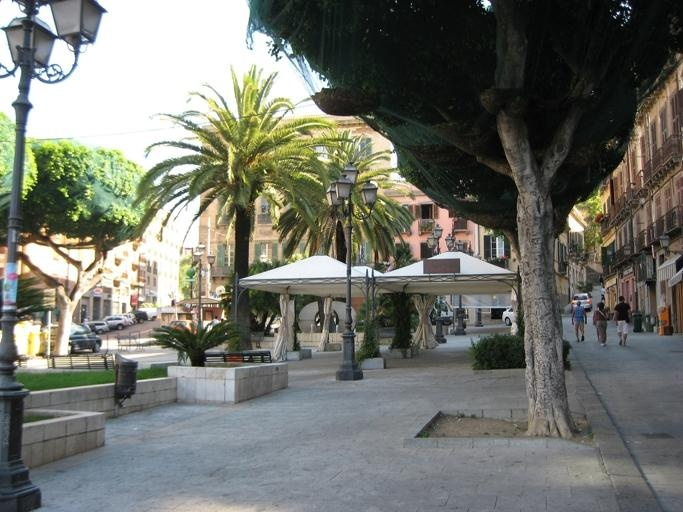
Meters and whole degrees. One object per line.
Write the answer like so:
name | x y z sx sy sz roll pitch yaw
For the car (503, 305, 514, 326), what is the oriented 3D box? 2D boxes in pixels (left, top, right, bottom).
car | 14.330 5.239 54.014 0.709 2.104 7.333 -4 -10 13

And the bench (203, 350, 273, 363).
bench | -2.744 2.714 16.722 1.463 0.376 3.217 -3 -11 2
